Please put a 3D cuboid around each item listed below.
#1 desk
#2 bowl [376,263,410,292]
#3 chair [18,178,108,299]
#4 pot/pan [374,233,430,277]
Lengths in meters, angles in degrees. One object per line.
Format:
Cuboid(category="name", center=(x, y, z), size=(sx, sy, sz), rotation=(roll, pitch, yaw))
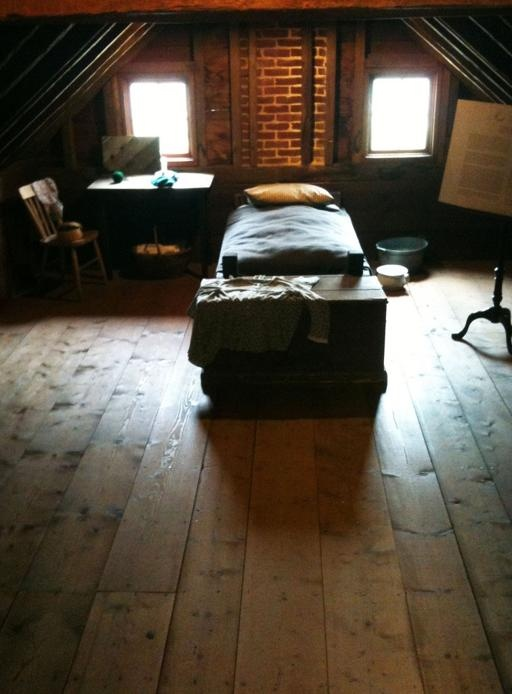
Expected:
Cuboid(category="desk", center=(-0.892, -1.149, 4.840), size=(1.295, 0.913, 0.823), rotation=(-1, 43, -1))
Cuboid(category="bowl", center=(1.042, -0.545, 4.183), size=(0.199, 0.128, 0.245), rotation=(3, 37, 3))
Cuboid(category="chair", center=(-1.462, -0.832, 4.234), size=(0.505, 0.740, 0.434), rotation=(9, 25, 6))
Cuboid(category="pot/pan", center=(1.194, -0.789, 4.560), size=(0.374, 0.207, 0.406), rotation=(6, 29, 19))
